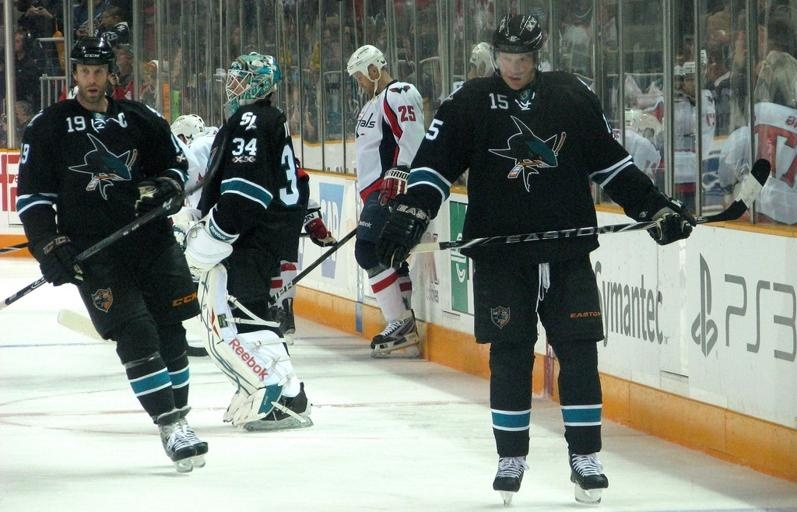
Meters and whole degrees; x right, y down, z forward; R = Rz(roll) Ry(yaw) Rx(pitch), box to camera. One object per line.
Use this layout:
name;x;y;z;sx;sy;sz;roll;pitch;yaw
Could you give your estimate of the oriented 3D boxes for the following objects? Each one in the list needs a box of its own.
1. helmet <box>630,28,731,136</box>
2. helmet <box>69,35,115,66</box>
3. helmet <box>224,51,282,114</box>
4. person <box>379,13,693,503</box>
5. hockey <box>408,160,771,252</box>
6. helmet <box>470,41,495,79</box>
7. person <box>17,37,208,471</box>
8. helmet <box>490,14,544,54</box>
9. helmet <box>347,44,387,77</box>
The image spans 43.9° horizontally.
helmet;1.699;-1.041;5.967;0.430;0.597;0.216;3;4;44
helmet;-1.713;-1.152;5.531;0.225;0.169;0.264;-3;8;-16
helmet;-0.940;-1.139;6.484;0.383;0.385;0.327;2;4;-26
person;0.686;0.020;5.079;1.411;2.490;0.601;1;7;15
hockey;1.089;-0.276;5.301;2.128;0.299;0.166;-9;20;8
helmet;0.614;-1.577;7.905;0.189;0.254;0.247;16;9;34
person;-1.516;-0.057;5.638;1.033;2.505;0.826;-9;-8;-42
helmet;0.632;-1.186;5.098;0.297;0.156;0.416;5;29;18
helmet;-0.257;-1.616;8.157;0.292;0.277;0.234;-4;9;8
